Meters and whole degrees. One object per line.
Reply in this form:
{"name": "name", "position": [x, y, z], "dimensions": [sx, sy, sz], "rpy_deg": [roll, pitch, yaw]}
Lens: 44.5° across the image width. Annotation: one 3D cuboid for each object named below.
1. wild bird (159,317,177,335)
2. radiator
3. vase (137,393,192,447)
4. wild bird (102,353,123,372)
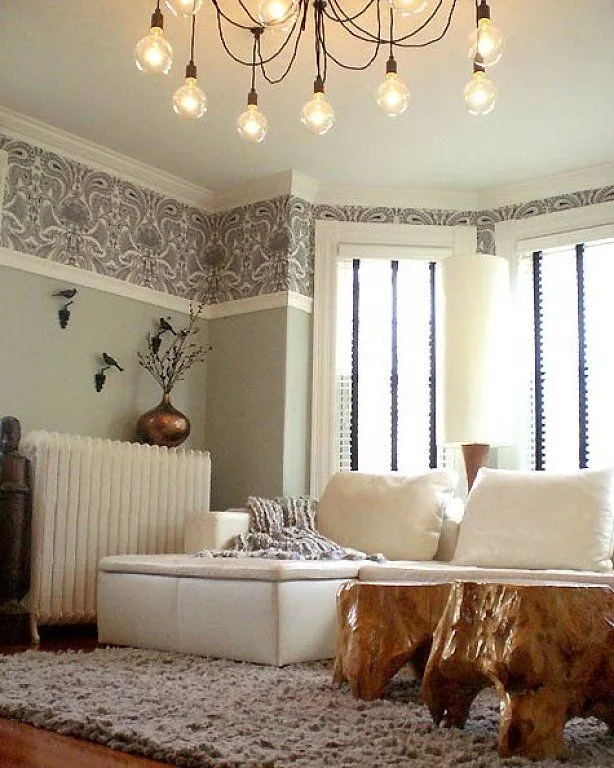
{"name": "wild bird", "position": [-0.898, -0.378, 4.828], "dimensions": [0.107, 0.102, 0.194], "rpy_deg": [1, -2, -9]}
{"name": "radiator", "position": [-1.005, 0.668, 3.866], "dimensions": [0.132, 0.718, 0.965], "rpy_deg": [-10, -14, 40]}
{"name": "vase", "position": [-0.862, 0.236, 4.527], "dimensions": [0.330, 0.369, 0.298], "rpy_deg": [4, -10, -15]}
{"name": "wild bird", "position": [-1.138, -0.130, 4.433], "dimensions": [0.091, 0.100, 0.196], "rpy_deg": [0, -2, 22]}
